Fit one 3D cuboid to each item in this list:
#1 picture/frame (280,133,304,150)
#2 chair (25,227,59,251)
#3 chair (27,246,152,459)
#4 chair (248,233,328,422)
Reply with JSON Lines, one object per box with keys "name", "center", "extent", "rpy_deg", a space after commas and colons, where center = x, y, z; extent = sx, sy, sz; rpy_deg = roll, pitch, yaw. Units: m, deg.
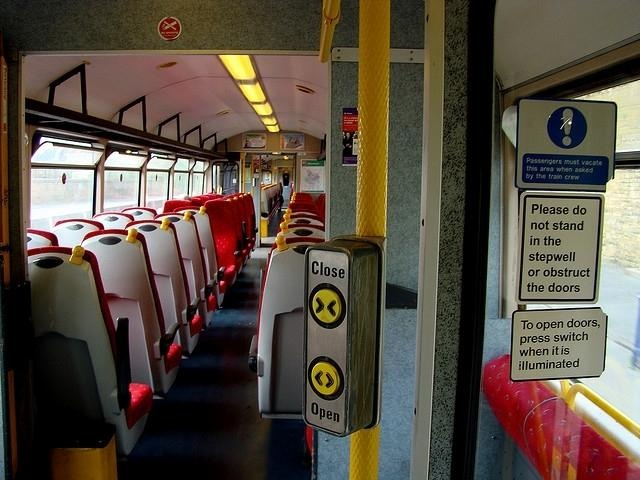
{"name": "picture/frame", "center": [-0.769, -2.757, 13.595], "extent": [0.627, 0.470, 0.169], "rpy_deg": [0, 8, -8]}
{"name": "chair", "center": [-1.952, -0.005, 3.439], "extent": [0.132, 0.149, 0.144], "rpy_deg": [-6, 2, 29]}
{"name": "chair", "center": [-1.482, 0.674, 3.154], "extent": [0.760, 1.350, 0.789], "rpy_deg": [2, 6, -4]}
{"name": "chair", "center": [-0.286, 0.656, 3.331], "extent": [0.390, 1.432, 0.464], "rpy_deg": [0, 8, -9]}
